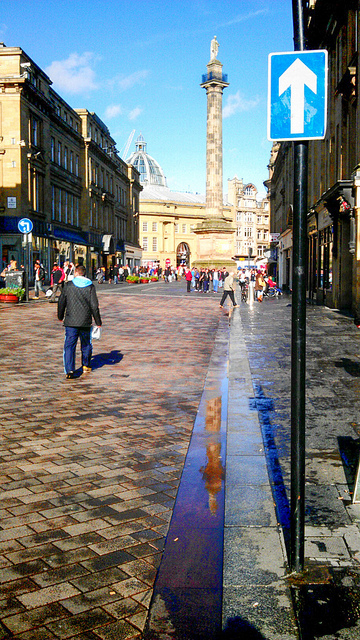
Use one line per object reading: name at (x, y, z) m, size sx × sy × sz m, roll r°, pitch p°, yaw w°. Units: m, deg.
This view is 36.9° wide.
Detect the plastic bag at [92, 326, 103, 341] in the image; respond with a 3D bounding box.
plastic bag at (-1.403, 0.218, 9.039) m, size 0.157 × 0.229 × 0.319 m, roll 9°, pitch 5°, yaw -3°

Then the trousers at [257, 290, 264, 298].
trousers at (4.359, -1.499, 29.448) m, size 0.242 × 0.370 × 0.794 m, roll 0°, pitch 3°, yaw 2°

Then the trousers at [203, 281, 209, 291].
trousers at (1.704, -2.385, 36.822) m, size 0.229 × 0.641 × 0.395 m, roll 0°, pitch 3°, yaw 16°

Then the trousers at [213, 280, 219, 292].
trousers at (2.532, -2.526, 38.612) m, size 0.217 × 0.812 × 0.914 m, roll 0°, pitch 3°, yaw 8°

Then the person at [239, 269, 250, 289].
person at (3.936, -2.624, 33.663) m, size 0.899 × 1.365 × 2.080 m, roll -1°, pitch 7°, yaw 6°

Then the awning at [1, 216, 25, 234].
awning at (-11.241, -6.343, 35.508) m, size 1.325 × 1.193 × 0.416 m, roll -1°, pitch 2°, yaw -1°

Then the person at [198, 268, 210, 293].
person at (1.652, -2.739, 37.032) m, size 0.500 × 1.576 × 2.079 m, roll -1°, pitch 3°, yaw -2°

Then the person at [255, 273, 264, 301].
person at (4.444, -1.919, 30.035) m, size 0.420 × 1.491 × 2.140 m, roll 0°, pitch 3°, yaw 9°

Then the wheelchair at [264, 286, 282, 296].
wheelchair at (6.322, -2.030, 37.112) m, size 0.899 × 0.837 × 1.647 m, roll -1°, pitch 4°, yaw 4°

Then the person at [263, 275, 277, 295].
person at (6.048, -2.506, 36.250) m, size 0.627 × 1.010 × 1.477 m, roll -5°, pitch 16°, yaw 14°

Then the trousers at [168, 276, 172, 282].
trousers at (-1.256, -4.973, 63.566) m, size 0.471 × 0.631 × 0.535 m, roll -1°, pitch -1°, yaw 1°

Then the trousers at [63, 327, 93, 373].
trousers at (-1.554, 0.430, 8.126) m, size 0.357 × 0.685 × 0.723 m, roll 0°, pitch 3°, yaw 21°

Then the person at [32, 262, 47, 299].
person at (-7.066, -2.009, 26.770) m, size 0.578 × 1.796 × 2.622 m, roll -1°, pitch 3°, yaw -14°

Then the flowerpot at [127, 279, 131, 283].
flowerpot at (-5.034, -3.893, 52.558) m, size 0.302 × 0.304 × 0.538 m, roll 0°, pitch 3°, yaw 13°

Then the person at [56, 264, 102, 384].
person at (-1.543, -0.007, 8.130) m, size 0.626 × 1.671 × 0.661 m, roll -2°, pitch 3°, yaw -32°

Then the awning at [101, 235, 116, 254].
awning at (-8.736, -9.121, 64.246) m, size 0.739 × 2.359 × 2.372 m, roll -2°, pitch 9°, yaw 9°

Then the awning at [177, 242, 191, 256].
awning at (0.752, -15.374, 115.825) m, size 3.869 × 2.362 × 3.908 m, roll -1°, pitch 13°, yaw -38°
